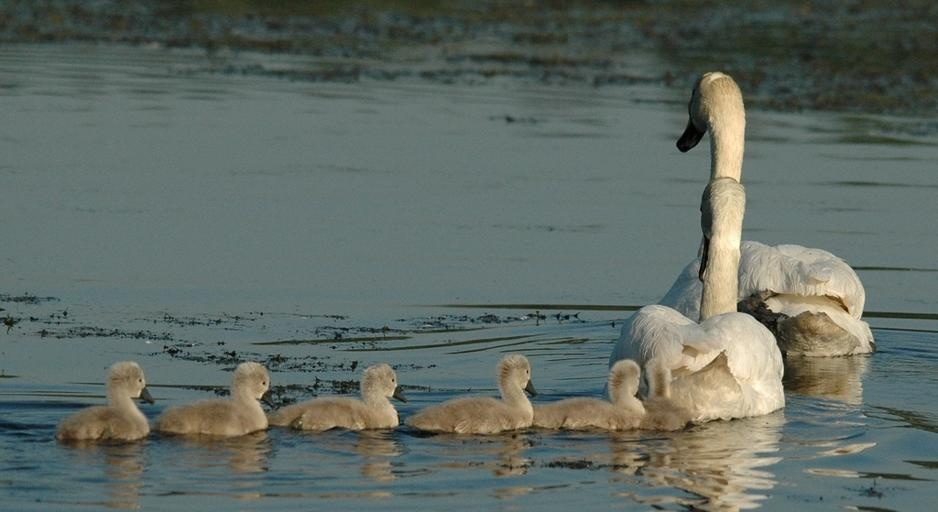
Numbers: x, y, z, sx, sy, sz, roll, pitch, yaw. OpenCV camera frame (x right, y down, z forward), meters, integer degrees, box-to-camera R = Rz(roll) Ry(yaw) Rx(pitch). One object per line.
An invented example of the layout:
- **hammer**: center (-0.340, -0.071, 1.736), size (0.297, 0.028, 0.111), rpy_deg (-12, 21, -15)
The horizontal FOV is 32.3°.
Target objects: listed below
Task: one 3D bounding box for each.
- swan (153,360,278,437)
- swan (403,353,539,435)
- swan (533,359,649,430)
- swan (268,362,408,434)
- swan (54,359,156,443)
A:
- **swan**: center (-5.448, 3.116, 35.064), size (2.356, 1.242, 1.408), rpy_deg (-3, 12, -14)
- **swan**: center (0.030, 3.029, 35.482), size (2.784, 1.428, 1.531), rpy_deg (-3, 8, -16)
- **swan**: center (2.679, 3.053, 35.117), size (2.260, 1.219, 0.362), rpy_deg (-2, 1, 5)
- **swan**: center (-2.952, 3.105, 35.429), size (2.963, 1.327, 1.269), rpy_deg (0, 9, -13)
- **swan**: center (-7.813, 3.142, 34.618), size (1.963, 1.575, 1.167), rpy_deg (-2, 1, -12)
